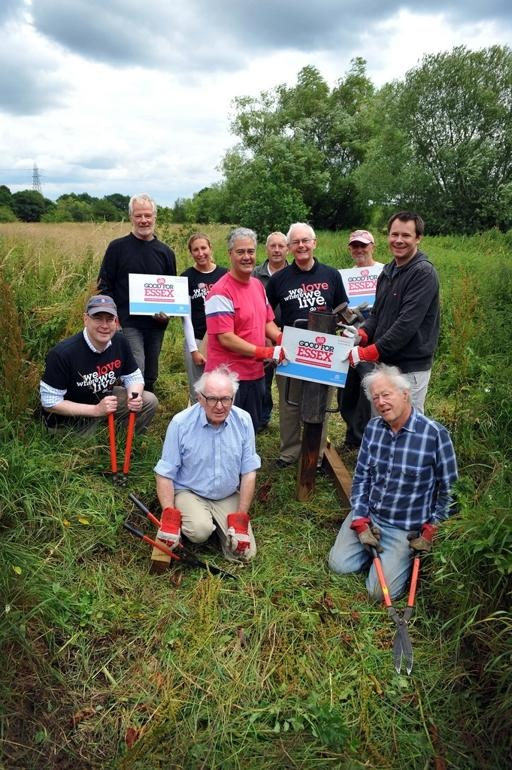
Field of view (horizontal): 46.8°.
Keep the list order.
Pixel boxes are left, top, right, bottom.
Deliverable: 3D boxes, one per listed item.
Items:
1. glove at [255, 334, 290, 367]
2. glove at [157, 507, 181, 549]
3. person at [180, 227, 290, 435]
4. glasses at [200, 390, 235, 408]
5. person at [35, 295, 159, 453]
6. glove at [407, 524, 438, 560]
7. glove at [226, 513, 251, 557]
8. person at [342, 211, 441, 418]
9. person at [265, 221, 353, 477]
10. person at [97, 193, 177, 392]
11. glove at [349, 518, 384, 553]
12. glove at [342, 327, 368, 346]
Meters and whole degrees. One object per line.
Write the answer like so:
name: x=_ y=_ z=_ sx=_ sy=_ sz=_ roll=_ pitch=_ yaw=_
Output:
glove: x=0.117 y=-0.260 z=4.473 sx=0.219 sy=0.109 sz=0.290 roll=0 pitch=14 yaw=1
glove: x=-0.540 y=0.906 z=3.805 sx=0.155 sy=0.254 sz=0.109 roll=11 pitch=-3 yaw=-19
person: x=-0.135 y=-0.440 z=4.606 sx=0.677 sy=1.465 sz=0.772 roll=-2 pitch=15 yaw=-23
glasses: x=-0.255 y=0.099 z=3.824 sx=0.205 sy=0.095 sz=0.104 roll=2 pitch=18 yaw=1
person: x=-1.275 y=-0.115 z=4.808 sx=0.782 sy=1.121 sz=0.758 roll=-1 pitch=15 yaw=-20
glove: x=1.019 y=0.952 z=3.635 sx=0.082 sy=0.200 sz=0.135 roll=29 pitch=-24 yaw=-14
glove: x=-0.115 y=0.973 z=3.850 sx=0.162 sy=0.256 sz=0.088 roll=0 pitch=-9 yaw=6
person: x=0.983 y=-0.586 z=4.533 sx=0.662 sy=1.642 sz=0.666 roll=20 pitch=23 yaw=40
person: x=0.382 y=-0.324 z=5.139 sx=0.807 sy=2.002 sz=0.857 roll=1 pitch=3 yaw=5
person: x=-1.088 y=-0.976 z=5.570 sx=0.725 sy=2.008 sz=0.772 roll=3 pitch=15 yaw=-38
glove: x=0.728 y=0.966 z=3.819 sx=0.144 sy=0.083 sz=0.183 roll=-29 pitch=53 yaw=3
glove: x=0.804 y=-0.395 z=4.726 sx=0.197 sy=0.084 sz=0.147 roll=35 pitch=-3 yaw=-7
